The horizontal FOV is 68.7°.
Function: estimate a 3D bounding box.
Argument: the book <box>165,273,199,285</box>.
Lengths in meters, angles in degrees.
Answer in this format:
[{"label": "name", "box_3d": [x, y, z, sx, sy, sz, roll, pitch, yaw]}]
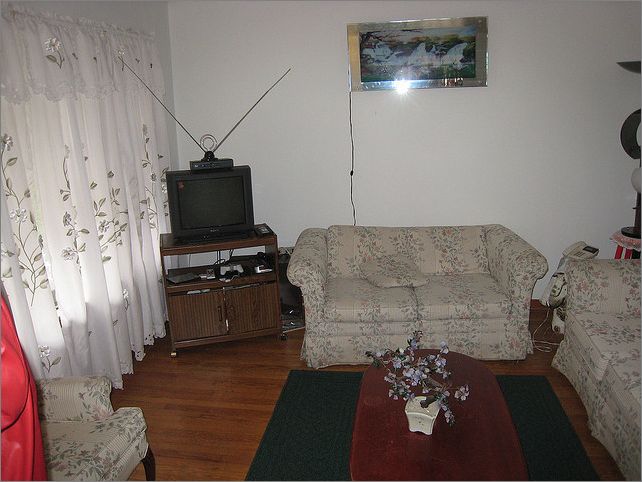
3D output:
[{"label": "book", "box_3d": [-1.130, 0.309, 3.851, 0.287, 0.031, 0.165, -8, 14, -43]}]

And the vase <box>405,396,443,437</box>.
[{"label": "vase", "box_3d": [0.537, 0.901, 2.461, 0.174, 0.149, 0.194, 14, 26, 37]}]

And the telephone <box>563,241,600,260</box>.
[{"label": "telephone", "box_3d": [2.126, 0.077, 3.828, 0.234, 0.099, 0.279, 5, 13, 38]}]
